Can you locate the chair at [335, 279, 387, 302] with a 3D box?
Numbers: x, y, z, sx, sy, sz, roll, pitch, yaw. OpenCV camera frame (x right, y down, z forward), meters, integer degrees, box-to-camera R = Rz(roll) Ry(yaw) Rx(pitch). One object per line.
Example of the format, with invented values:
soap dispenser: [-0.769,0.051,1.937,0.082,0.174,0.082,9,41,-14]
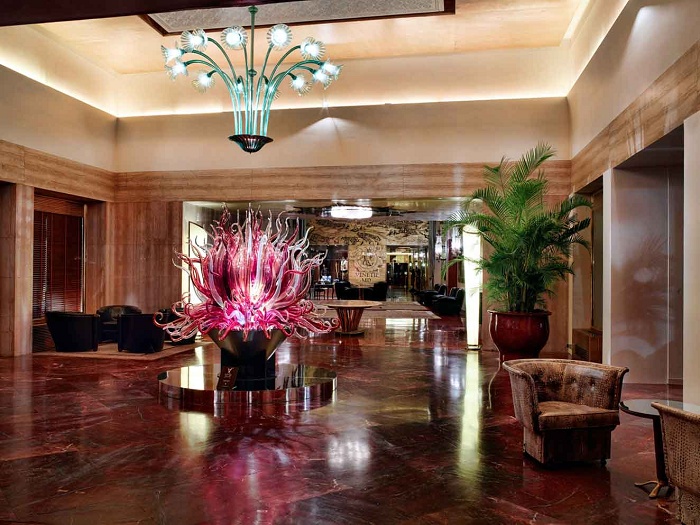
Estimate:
chair: [0.500,1.236,21.162,1.534,0.858,1.063,4,-3,-6]

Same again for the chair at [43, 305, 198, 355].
chair: [-4.690,1.375,9.959,2.209,0.817,1.050,-1,-5,3]

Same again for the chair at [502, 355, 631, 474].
chair: [1.985,1.382,4.627,0.973,0.892,0.552,0,-5,-9]
